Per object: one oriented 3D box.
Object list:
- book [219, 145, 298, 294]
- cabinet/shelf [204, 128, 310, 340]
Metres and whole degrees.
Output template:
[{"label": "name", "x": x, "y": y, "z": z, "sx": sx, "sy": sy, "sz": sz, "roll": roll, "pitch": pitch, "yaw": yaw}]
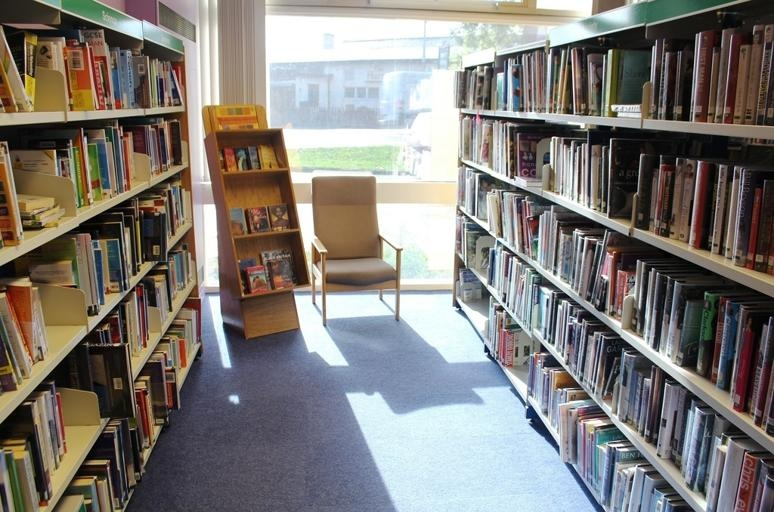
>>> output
[{"label": "book", "x": -1.119, "y": -0.315, "z": 5.138, "sx": 0.551, "sy": 1.280, "sz": 0.511, "roll": -9, "pitch": 18, "yaw": -19}, {"label": "cabinet/shelf", "x": -1.178, "y": -0.206, "z": 5.223, "sx": 0.699, "sy": 1.805, "sz": 0.689, "roll": -9, "pitch": 17, "yaw": -36}]
